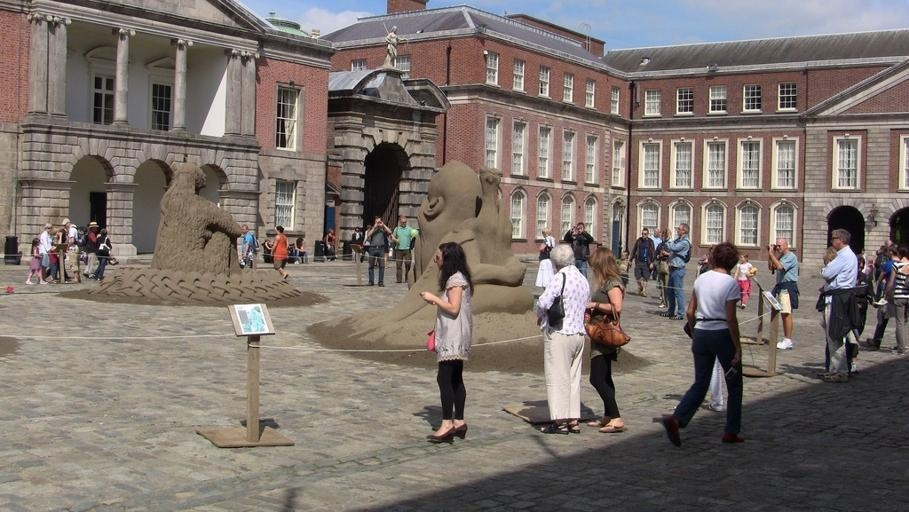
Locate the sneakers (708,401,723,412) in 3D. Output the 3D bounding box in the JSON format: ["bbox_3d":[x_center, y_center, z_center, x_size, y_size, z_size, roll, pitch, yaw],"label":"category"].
[{"bbox_3d":[4.478,2.578,15.069,0.194,0.123,0.186,1,-2,-36],"label":"sneakers"}]

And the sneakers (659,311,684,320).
[{"bbox_3d":[5.783,1.585,23.564,0.595,0.226,0.202,5,1,35],"label":"sneakers"}]

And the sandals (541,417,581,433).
[{"bbox_3d":[1.723,2.733,13.979,0.308,0.133,0.401,-1,3,-29],"label":"sandals"}]

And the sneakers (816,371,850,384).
[{"bbox_3d":[7.251,2.306,16.812,0.525,0.200,0.219,2,1,22],"label":"sneakers"}]

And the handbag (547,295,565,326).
[{"bbox_3d":[1.593,0.830,13.830,0.208,0.402,0.421,2,11,-13],"label":"handbag"}]

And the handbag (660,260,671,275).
[{"bbox_3d":[5.856,0.297,24.394,0.399,0.344,0.152,-6,-17,39],"label":"handbag"}]

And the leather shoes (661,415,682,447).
[{"bbox_3d":[3.334,2.648,13.554,0.286,0.573,0.215,-21,15,5],"label":"leather shoes"}]

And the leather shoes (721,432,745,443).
[{"bbox_3d":[4.305,2.831,13.704,0.408,0.165,0.128,-3,8,-19],"label":"leather shoes"}]

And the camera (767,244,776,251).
[{"bbox_3d":[7.553,-0.253,20.952,0.269,0.232,0.175,0,-9,17],"label":"camera"}]

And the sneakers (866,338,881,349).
[{"bbox_3d":[9.540,1.993,20.056,0.174,0.170,0.402,-2,10,-8],"label":"sneakers"}]
